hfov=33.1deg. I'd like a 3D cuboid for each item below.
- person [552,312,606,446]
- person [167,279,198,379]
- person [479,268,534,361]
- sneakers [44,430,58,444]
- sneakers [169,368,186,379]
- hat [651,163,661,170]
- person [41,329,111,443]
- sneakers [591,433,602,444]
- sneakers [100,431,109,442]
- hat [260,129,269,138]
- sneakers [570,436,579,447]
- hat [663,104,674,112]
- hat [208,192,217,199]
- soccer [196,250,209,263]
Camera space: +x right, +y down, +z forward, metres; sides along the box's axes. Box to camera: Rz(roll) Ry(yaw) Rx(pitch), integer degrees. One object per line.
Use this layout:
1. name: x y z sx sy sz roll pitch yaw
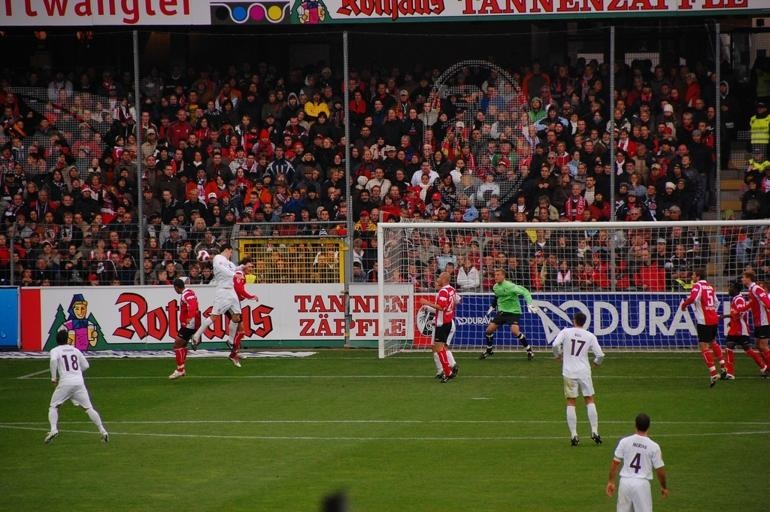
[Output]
1. person: 4.377 2.714 29.194 1.055 2.935 0.734 -1 5 7
2. person: -5.346 1.865 34.442 0.831 2.675 0.960 -2 5 -10
3. person: 3.446 1.603 36.227 1.452 2.640 1.174 -1 5 5
4. sneakers: -7.595 4.032 29.269 0.415 0.184 0.231 -12 -9 27
5. sneakers: -5.609 3.082 34.461 0.545 0.270 0.200 -6 -8 35
6. hat: 8.157 -2.728 38.806 0.292 0.154 0.277 -1 5 6
7. person: -7.096 2.878 29.416 1.351 2.603 0.907 -2 6 -13
8. sneakers: 4.773 4.045 29.016 0.130 0.151 0.357 2 -9 25
9. sneakers: -6.348 4.073 29.360 0.124 0.152 0.340 -1 -36 -11
10. hat: -3.761 -3.866 40.536 0.247 0.180 0.241 6 -13 -34
11. sneakers: 4.269 4.108 29.087 0.218 0.212 0.165 7 -12 -24
12. hat: 8.703 -4.537 39.605 0.217 0.218 0.279 1 -2 4
13. hat: -5.240 -1.871 39.189 0.216 0.114 0.341 -1 -3 -8
14. soccer: -5.029 -0.003 35.652 0.316 0.321 0.317 -6 23 0
